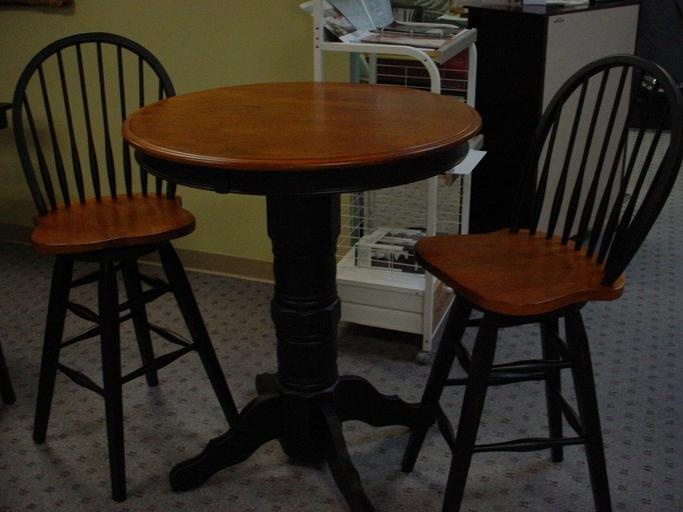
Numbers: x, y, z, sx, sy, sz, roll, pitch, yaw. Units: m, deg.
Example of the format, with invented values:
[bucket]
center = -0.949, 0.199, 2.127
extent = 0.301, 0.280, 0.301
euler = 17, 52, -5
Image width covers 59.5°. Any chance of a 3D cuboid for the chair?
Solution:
[chair]
center = -0.332, -0.170, 2.546
extent = 2.686, 1.934, 1.413
euler = 8, 23, 19
